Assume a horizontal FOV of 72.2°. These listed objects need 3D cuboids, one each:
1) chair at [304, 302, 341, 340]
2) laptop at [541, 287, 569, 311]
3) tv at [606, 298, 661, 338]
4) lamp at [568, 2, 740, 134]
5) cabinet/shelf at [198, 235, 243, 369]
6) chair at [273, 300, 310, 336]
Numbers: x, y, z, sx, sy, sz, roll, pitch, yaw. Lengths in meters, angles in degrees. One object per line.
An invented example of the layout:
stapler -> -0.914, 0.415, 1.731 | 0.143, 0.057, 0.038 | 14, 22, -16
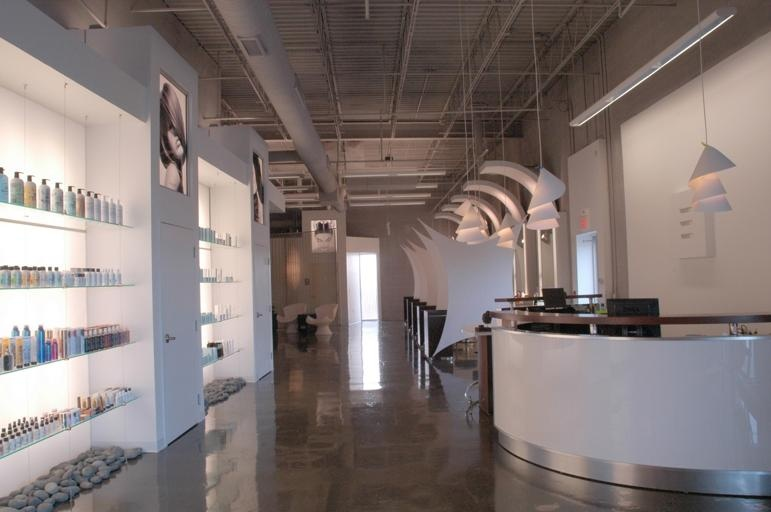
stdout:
chair -> -2.117, 2.196, 17.987 | 0.974, 1.121, 1.068 | -5, -8, 36
laptop -> 2.648, 0.650, 8.276 | 0.378, 0.387, 0.311 | 0, -2, 7
tv -> 2.942, 0.754, 6.296 | 0.563, 0.478, 0.820 | 0, 2, 27
lamp -> 4.963, -3.494, 9.673 | 0.363, 0.167, 3.188 | -34, 0, -31
cabinet/shelf -> -3.036, 0.837, 9.685 | 0.667, 2.315, 2.407 | 0, -2, 0
chair -> -3.482, 2.282, 19.400 | 1.179, 1.221, 1.103 | -5, -12, 20
